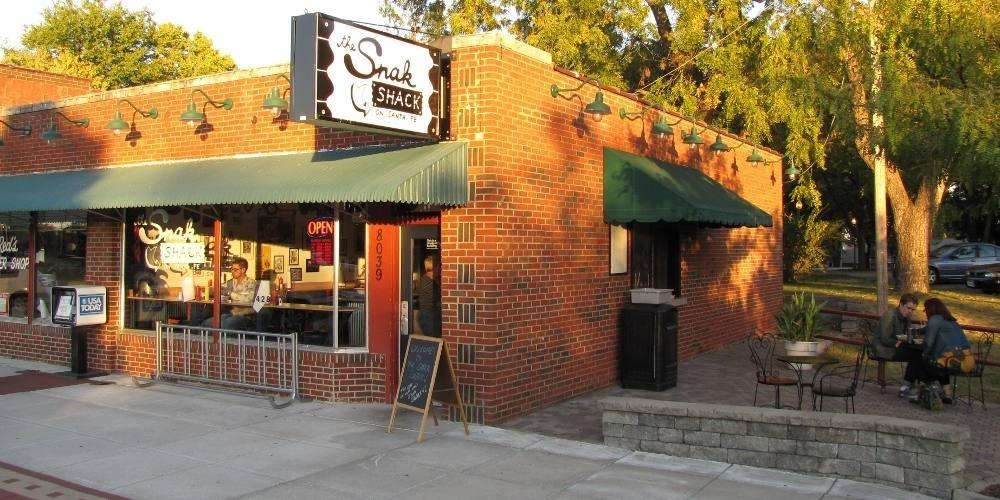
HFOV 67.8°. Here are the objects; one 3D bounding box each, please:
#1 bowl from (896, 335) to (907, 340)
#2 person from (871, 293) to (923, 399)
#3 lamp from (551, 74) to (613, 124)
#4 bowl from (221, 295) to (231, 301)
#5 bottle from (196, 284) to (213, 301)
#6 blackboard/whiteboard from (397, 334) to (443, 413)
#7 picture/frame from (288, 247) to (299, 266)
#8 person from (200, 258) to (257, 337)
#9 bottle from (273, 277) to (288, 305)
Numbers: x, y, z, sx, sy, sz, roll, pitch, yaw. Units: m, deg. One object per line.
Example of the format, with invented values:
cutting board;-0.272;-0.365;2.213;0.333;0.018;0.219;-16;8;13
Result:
bowl;11.119;2.402;20.620;0.218;0.141;0.210;1;-1;0
person;11.213;2.649;21.118;1.198;2.759;1.229;1;0;26
lamp;2.276;-4.181;20.470;1.476;1.697;0.911;0;0;-17
bowl;-7.962;1.370;21.583;0.199;0.102;0.192;0;-4;0
bottle;-8.697;1.249;21.835;0.500;0.415;0.473;2;2;-2
blackboard/whiteboard;-2.017;3.049;18.648;1.236;1.764;0.409;0;-1;26
picture/frame;-5.802;0.161;20.884;0.379;0.465;0.044;0;-1;23
person;-7.658;1.279;21.486;1.216;1.963;1.087;0;-1;10
bottle;-6.248;1.112;21.044;0.425;0.828;0.098;0;-1;28
